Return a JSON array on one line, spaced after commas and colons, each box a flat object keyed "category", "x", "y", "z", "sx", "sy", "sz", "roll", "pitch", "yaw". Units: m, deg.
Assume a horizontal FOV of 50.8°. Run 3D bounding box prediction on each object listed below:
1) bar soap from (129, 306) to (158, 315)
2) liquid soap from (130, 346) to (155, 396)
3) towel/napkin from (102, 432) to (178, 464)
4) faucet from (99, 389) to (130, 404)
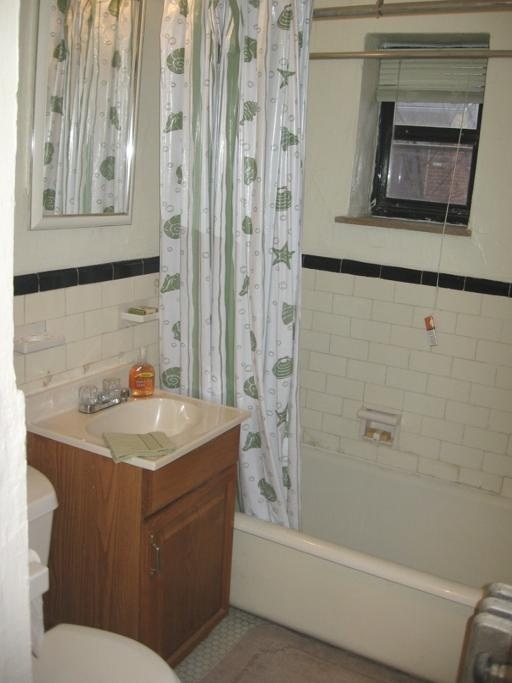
[{"category": "bar soap", "x": -0.480, "y": -0.132, "z": 2.282, "sx": 0.095, "sy": 0.022, "sz": 0.125, "roll": 11, "pitch": 13, "yaw": 17}, {"category": "liquid soap", "x": -0.485, "y": 0.117, "z": 2.235, "sx": 0.102, "sy": 0.187, "sz": 0.197, "roll": -1, "pitch": 13, "yaw": -30}, {"category": "towel/napkin", "x": -0.371, "y": 0.350, "z": 1.721, "sx": 0.223, "sy": 0.059, "sz": 0.217, "roll": 3, "pitch": 13, "yaw": -18}, {"category": "faucet", "x": -0.542, "y": 0.216, "z": 2.083, "sx": 0.044, "sy": 0.032, "sz": 0.080, "roll": 4, "pitch": 4, "yaw": 24}]
